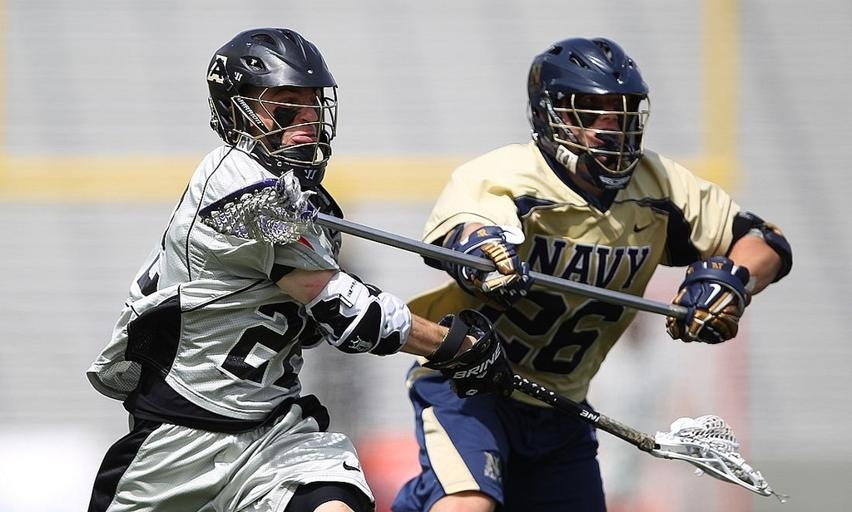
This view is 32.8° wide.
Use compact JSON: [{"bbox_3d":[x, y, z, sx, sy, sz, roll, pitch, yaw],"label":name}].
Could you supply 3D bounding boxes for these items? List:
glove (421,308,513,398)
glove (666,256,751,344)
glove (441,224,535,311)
[{"bbox_3d":[0.233,0.499,7.433,0.374,0.333,0.274,-28,41,-6],"label":"glove"},{"bbox_3d":[1.503,0.244,7.589,0.541,0.370,0.244,-21,41,3],"label":"glove"},{"bbox_3d":[0.256,0.051,7.360,0.475,0.432,0.214,9,46,37],"label":"glove"}]
